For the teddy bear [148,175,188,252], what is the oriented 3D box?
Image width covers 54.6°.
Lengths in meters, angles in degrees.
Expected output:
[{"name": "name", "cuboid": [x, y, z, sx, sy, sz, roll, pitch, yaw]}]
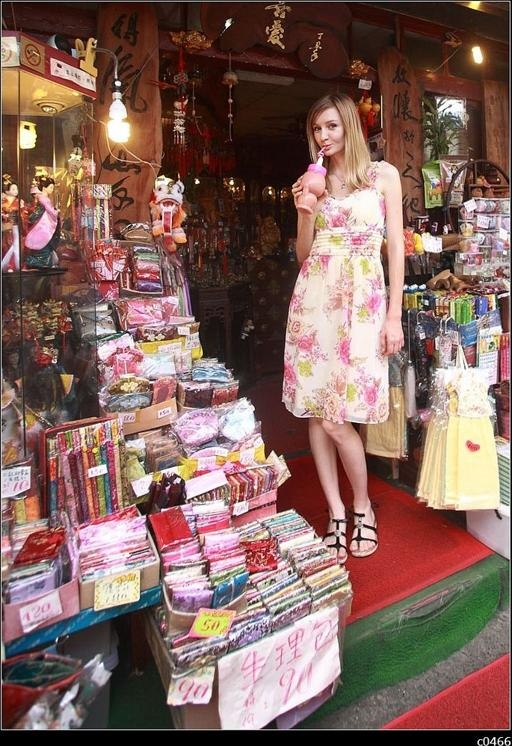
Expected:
[{"name": "teddy bear", "cuboid": [-0.419, -0.755, 2.357, 0.213, 0.362, 0.186, -7, 6, -29]}]

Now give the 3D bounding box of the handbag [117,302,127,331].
[{"name": "handbag", "cuboid": [-0.545, -0.242, 2.064, 0.028, 0.102, 0.075, -1, 2, -10]}]

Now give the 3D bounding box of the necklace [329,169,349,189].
[{"name": "necklace", "cuboid": [0.308, -0.720, 1.866, 0.070, 0.075, 0.022, -8, -9, 35]}]

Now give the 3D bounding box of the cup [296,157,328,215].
[{"name": "cup", "cuboid": [0.206, -0.686, 1.799, 0.091, 0.213, 0.150, -1, 6, 35]}]

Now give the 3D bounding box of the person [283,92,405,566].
[{"name": "person", "cuboid": [0.333, -0.148, 1.910, 0.484, 1.700, 0.295, -4, 5, 1]}]

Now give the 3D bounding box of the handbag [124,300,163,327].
[{"name": "handbag", "cuboid": [-0.474, -0.254, 2.103, 0.162, 0.109, 0.026, -8, 6, -34]}]

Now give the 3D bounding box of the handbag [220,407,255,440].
[{"name": "handbag", "cuboid": [-0.068, 0.202, 1.913, 0.081, 0.029, 0.121, 17, 29, 2]}]

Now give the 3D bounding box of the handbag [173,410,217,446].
[{"name": "handbag", "cuboid": [-0.219, 0.203, 1.833, 0.166, 0.100, 0.184, -6, 6, -17]}]

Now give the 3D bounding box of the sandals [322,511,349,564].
[{"name": "sandals", "cuboid": [0.309, 0.646, 1.969, 0.093, 0.109, 0.286, 0, 3, 5]}]

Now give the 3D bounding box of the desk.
[{"name": "desk", "cuboid": [-0.303, -0.405, 3.820, 0.285, 0.837, 0.514, 9, 15, 40]}]

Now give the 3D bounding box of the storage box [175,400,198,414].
[{"name": "storage box", "cuboid": [-0.286, 0.141, 2.001, 0.061, 0.063, 0.044, 0, 1, -17]}]

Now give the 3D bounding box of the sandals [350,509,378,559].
[{"name": "sandals", "cuboid": [0.427, 0.642, 1.946, 0.070, 0.081, 0.199, -3, 0, 9]}]
